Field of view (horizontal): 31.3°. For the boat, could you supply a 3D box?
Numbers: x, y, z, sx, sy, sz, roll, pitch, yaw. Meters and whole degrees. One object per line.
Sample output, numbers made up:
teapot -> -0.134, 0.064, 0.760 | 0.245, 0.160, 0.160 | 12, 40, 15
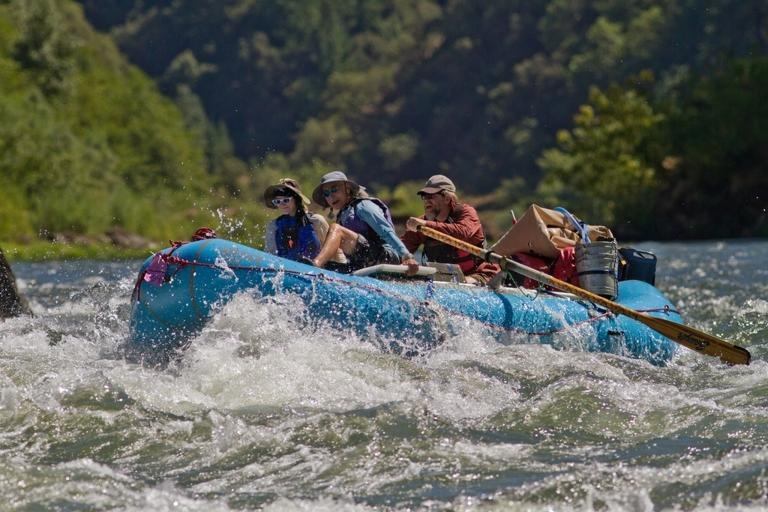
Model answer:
boat -> -0.095, 1.633, 41.775 | 14.992, 3.581, 0.970 | 4, 14, -4
